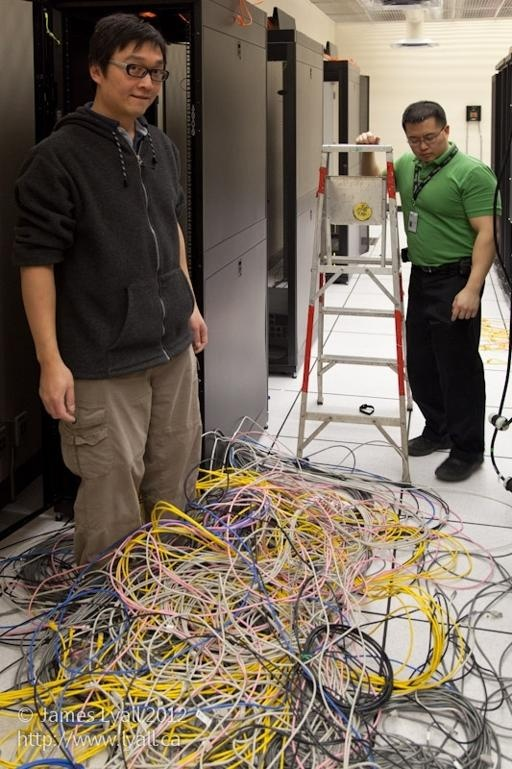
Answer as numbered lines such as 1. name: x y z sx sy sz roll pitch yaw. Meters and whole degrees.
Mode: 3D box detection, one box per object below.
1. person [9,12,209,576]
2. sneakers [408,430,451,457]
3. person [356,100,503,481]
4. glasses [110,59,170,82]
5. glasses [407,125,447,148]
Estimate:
1. person: -0.373 -0.194 1.788 0.529 1.482 0.432 -9 16 -23
2. sneakers: 0.859 0.286 3.174 0.239 0.103 0.103 -5 0 -33
3. person: 0.811 -0.388 2.800 0.431 1.593 0.499 2 16 17
4. glasses: -0.270 -0.759 1.564 0.058 0.040 0.174 9 20 36
5. glasses: 0.699 -0.989 2.598 0.094 0.053 0.114 -3 -20 27
